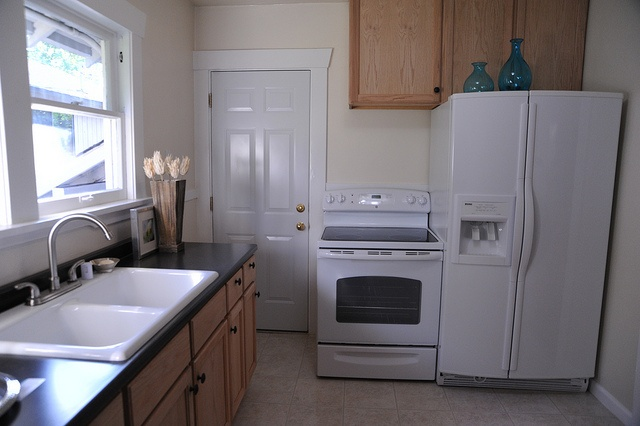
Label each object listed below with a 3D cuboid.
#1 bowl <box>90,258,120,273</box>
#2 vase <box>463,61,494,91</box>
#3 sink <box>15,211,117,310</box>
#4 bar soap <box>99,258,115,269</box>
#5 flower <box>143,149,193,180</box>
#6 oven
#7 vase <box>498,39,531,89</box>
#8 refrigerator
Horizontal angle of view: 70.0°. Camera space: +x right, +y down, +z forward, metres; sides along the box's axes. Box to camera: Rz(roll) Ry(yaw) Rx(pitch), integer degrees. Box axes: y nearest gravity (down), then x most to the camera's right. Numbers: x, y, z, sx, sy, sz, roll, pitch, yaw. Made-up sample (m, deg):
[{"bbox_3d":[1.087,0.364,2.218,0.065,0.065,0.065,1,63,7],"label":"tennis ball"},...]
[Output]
[{"bbox_3d":[-1.237,0.293,2.666,0.095,0.039,0.099,1,2,0],"label":"bowl"},{"bbox_3d":[1.164,-0.978,3.327,0.216,0.213,0.214,-13,22,-10],"label":"vase"},{"bbox_3d":[-1.263,0.220,2.358,0.299,0.448,0.490,5,8,2],"label":"sink"},{"bbox_3d":[-1.233,0.292,2.647,0.067,0.027,0.068,1,2,5],"label":"bar soap"},{"bbox_3d":[-0.990,-0.297,3.062,0.230,0.149,0.210,-1,2,-19],"label":"flower"},{"bbox_3d":[0.464,0.648,3.727,1.010,1.228,0.935,1,0,-6],"label":"oven"},{"bbox_3d":[1.408,-1.054,3.275,0.192,0.350,0.148,10,15,41],"label":"vase"},{"bbox_3d":[1.447,0.172,3.213,1.137,1.983,0.385,-1,11,-4],"label":"refrigerator"}]
